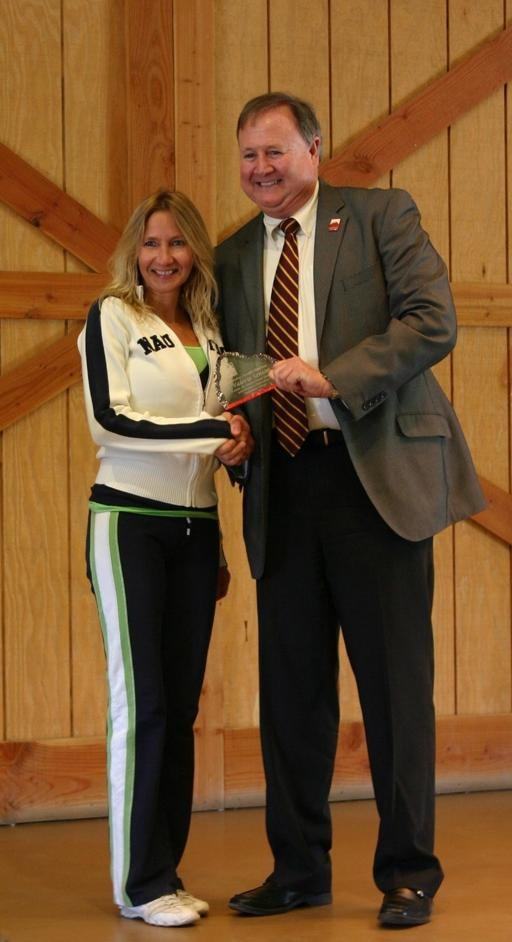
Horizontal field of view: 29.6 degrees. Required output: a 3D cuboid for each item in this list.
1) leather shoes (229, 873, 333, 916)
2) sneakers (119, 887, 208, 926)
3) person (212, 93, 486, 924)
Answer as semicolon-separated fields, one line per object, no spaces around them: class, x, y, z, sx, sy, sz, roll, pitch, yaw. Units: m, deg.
leather shoes;0.052;0.939;2.172;0.208;0.098;0.079;4;-16;-17
sneakers;-0.192;0.913;2.033;0.112;0.044;0.089;-4;-10;20
person;0.179;0.078;2.087;0.597;1.777;0.408;2;4;13
